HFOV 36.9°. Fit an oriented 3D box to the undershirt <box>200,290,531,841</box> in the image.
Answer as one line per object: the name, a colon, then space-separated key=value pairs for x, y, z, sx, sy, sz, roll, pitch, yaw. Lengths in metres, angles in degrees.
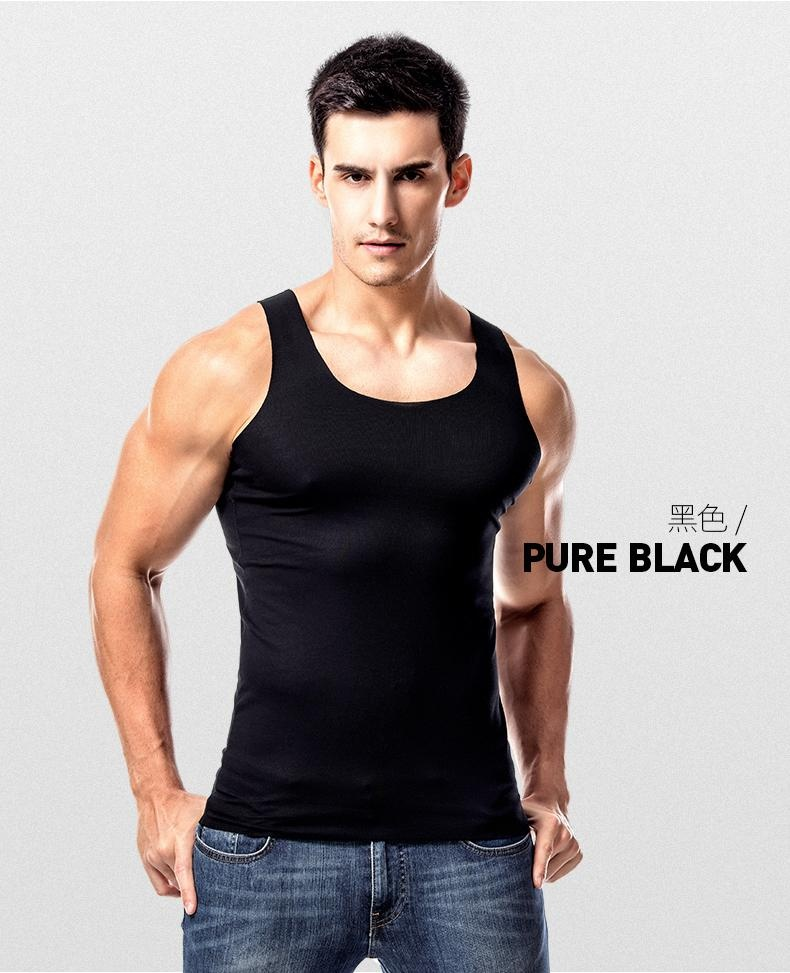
undershirt: x=-0.025 y=0.125 z=1.842 sx=0.495 sy=0.826 sz=0.251 roll=3 pitch=5 yaw=-8
